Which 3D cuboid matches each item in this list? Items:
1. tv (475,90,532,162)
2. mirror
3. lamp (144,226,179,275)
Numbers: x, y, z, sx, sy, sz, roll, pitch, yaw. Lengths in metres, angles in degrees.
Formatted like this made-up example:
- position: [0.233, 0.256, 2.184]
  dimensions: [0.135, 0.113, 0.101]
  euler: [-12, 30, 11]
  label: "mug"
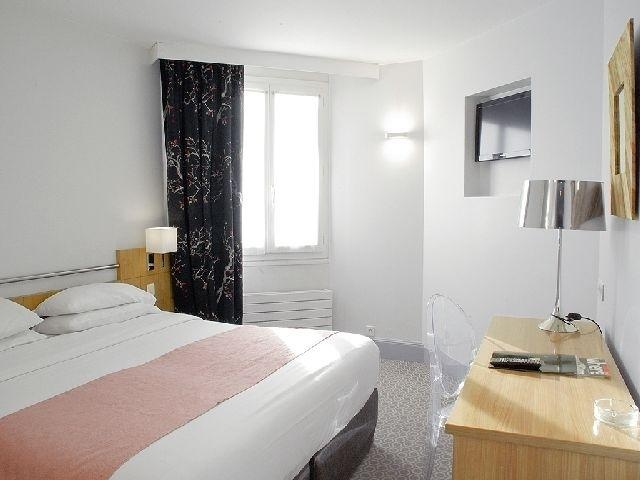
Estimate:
- position: [1.618, -0.986, 3.678]
  dimensions: [0.071, 0.597, 0.654]
  euler: [-1, 0, -33]
  label: "tv"
- position: [1.415, -0.518, 1.966]
  dimensions: [0.088, 0.830, 0.649]
  euler: [4, 9, 28]
  label: "mirror"
- position: [-1.403, 0.078, 3.734]
  dimensions: [0.223, 0.356, 0.241]
  euler: [-3, -3, 13]
  label: "lamp"
